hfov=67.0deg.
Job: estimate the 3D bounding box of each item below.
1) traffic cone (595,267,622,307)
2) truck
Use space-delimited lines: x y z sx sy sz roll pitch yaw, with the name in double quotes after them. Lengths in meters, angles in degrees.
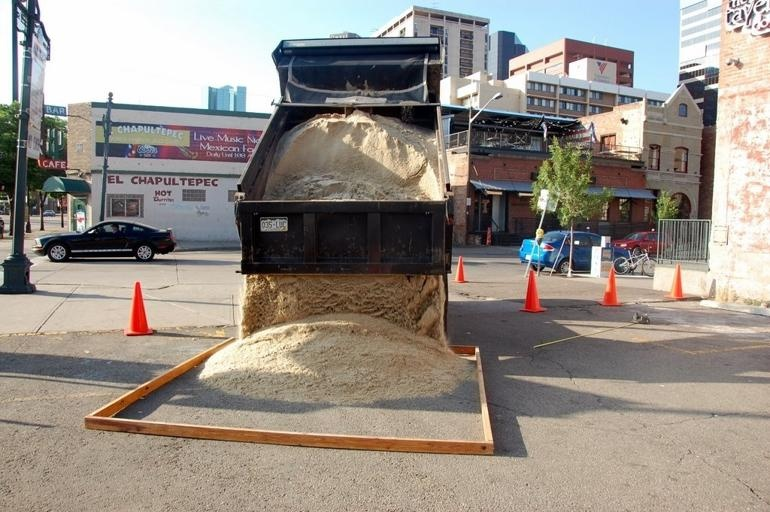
6.329 0.882 16.420 0.820 1.160 0.746 -4 8 -19 "traffic cone"
-0.542 -1.890 9.769 3.190 3.833 3.736 1 13 2 "truck"
